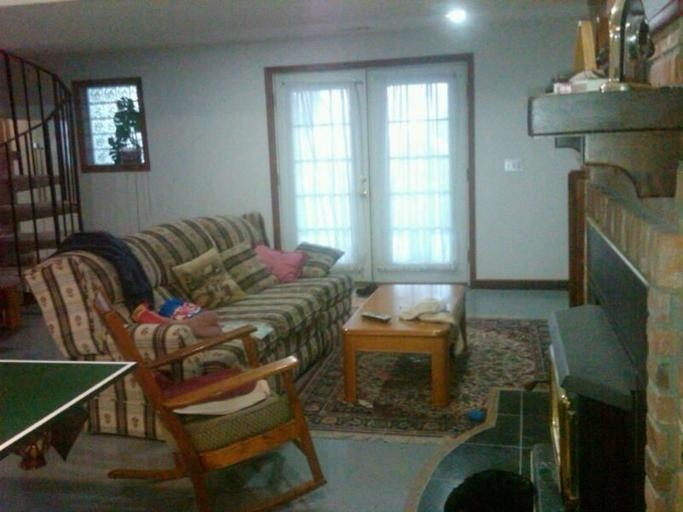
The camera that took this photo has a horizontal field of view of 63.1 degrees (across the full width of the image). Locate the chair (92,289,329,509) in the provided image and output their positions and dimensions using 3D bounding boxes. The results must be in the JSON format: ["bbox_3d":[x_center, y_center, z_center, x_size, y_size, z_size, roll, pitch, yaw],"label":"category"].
[{"bbox_3d":[-0.526,0.462,2.625,1.044,1.157,0.773,-12,18,-21],"label":"chair"}]

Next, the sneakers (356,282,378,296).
[{"bbox_3d":[0.251,0.338,5.540,0.230,0.093,0.098,-2,6,-2],"label":"sneakers"}]

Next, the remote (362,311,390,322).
[{"bbox_3d":[0.208,0.349,3.192,0.103,0.023,0.063,9,10,35],"label":"remote"}]
